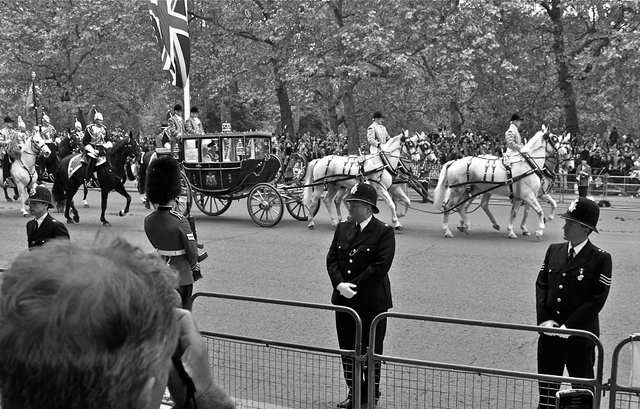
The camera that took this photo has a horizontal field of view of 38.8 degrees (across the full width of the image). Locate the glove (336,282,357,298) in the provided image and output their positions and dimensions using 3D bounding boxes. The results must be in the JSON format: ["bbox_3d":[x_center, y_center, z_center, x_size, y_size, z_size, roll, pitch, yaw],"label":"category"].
[{"bbox_3d":[0.581,1.820,19.303,0.402,0.181,0.206,15,-4,35],"label":"glove"}]

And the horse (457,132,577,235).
[{"bbox_3d":[6.430,-0.677,30.267,1.407,3.380,5.331,1,-1,-36],"label":"horse"}]

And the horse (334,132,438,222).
[{"bbox_3d":[1.985,-0.767,31.410,1.420,2.841,5.474,-5,1,-36],"label":"horse"}]

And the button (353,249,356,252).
[{"bbox_3d":[0.733,1.003,19.460,0.068,0.060,0.026,-1,-6,0],"label":"button"}]

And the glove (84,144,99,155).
[{"bbox_3d":[-7.620,-1.828,30.348,0.452,0.248,0.110,29,-15,5],"label":"glove"}]

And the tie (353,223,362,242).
[{"bbox_3d":[0.850,0.606,19.580,0.108,0.350,0.123,10,-23,30],"label":"tie"}]

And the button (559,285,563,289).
[{"bbox_3d":[4.993,1.725,18.842,0.066,0.079,0.018,1,4,15],"label":"button"}]

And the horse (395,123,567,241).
[{"bbox_3d":[5.384,-0.557,29.443,6.280,3.016,1.630,-2,-3,39],"label":"horse"}]

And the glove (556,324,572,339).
[{"bbox_3d":[4.957,2.624,18.477,0.310,0.310,0.680,1,2,18],"label":"glove"}]

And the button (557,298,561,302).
[{"bbox_3d":[4.950,1.992,18.834,0.127,0.086,0.025,4,-2,10],"label":"button"}]

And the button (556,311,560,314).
[{"bbox_3d":[4.929,2.258,18.841,0.062,0.053,0.007,2,4,25],"label":"button"}]

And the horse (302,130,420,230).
[{"bbox_3d":[1.414,-0.690,29.995,1.438,2.832,4.998,2,-2,-45],"label":"horse"}]

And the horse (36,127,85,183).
[{"bbox_3d":[-9.291,-2.125,33.278,0.842,1.503,2.828,10,14,-40],"label":"horse"}]

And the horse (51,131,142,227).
[{"bbox_3d":[-7.508,-0.749,31.087,4.805,2.798,1.442,0,-4,40],"label":"horse"}]

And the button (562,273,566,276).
[{"bbox_3d":[5.061,1.466,18.849,0.063,0.053,0.006,1,4,10],"label":"button"}]
